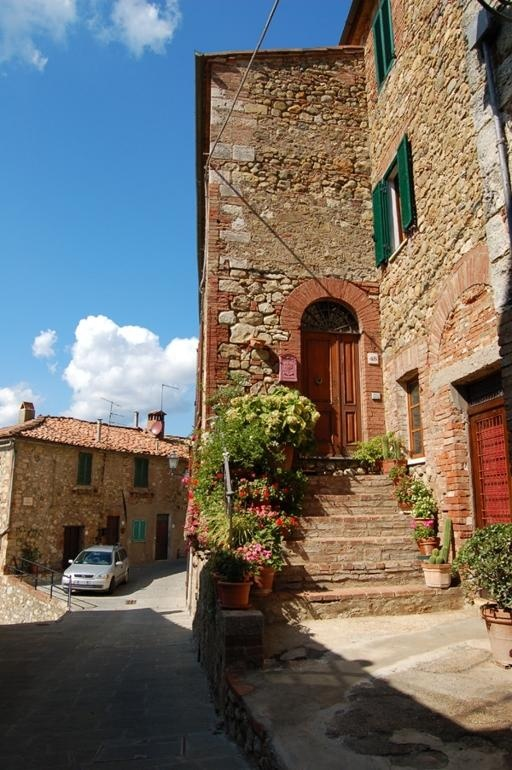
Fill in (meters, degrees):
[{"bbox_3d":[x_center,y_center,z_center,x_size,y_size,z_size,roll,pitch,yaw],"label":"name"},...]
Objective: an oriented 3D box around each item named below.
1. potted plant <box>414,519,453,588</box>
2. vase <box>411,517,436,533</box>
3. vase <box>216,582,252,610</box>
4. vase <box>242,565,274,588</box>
[{"bbox_3d":[1.838,1.764,6.160,0.406,0.755,0.427,-2,-24,20],"label":"potted plant"},{"bbox_3d":[1.876,1.565,6.665,0.157,0.113,0.158,1,-20,2],"label":"vase"},{"bbox_3d":[-0.192,1.621,4.625,0.317,0.203,0.246,-5,-13,17],"label":"vase"},{"bbox_3d":[0.027,1.750,5.308,0.349,0.259,0.351,0,-18,2],"label":"vase"}]
